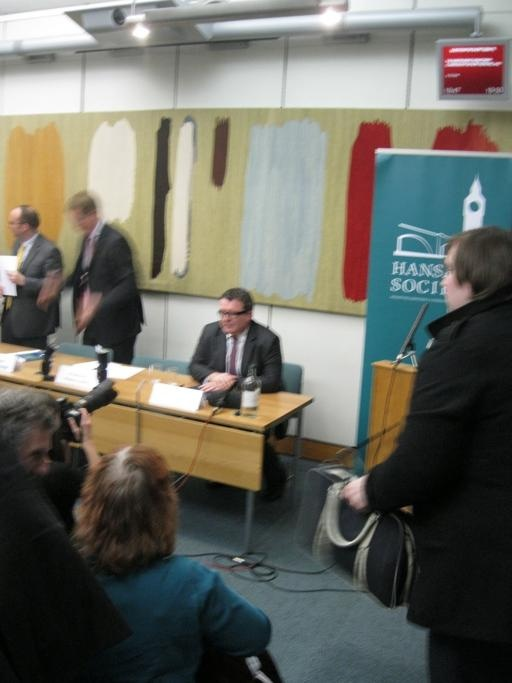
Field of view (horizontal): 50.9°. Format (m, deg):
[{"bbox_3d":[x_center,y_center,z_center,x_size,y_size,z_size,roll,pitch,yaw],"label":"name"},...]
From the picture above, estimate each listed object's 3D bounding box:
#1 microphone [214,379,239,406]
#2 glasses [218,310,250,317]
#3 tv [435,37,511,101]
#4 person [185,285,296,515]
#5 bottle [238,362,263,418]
[{"bbox_3d":[-0.137,0.278,2.887,0.096,0.122,0.040,-3,-5,20],"label":"microphone"},{"bbox_3d":[-0.132,-0.169,3.186,0.180,0.048,0.088,2,7,-5],"label":"glasses"},{"bbox_3d":[1.274,-1.594,3.132,0.384,0.317,0.151,5,19,21],"label":"tv"},{"bbox_3d":[-0.149,0.347,3.407,0.603,1.281,0.730,11,17,35],"label":"person"},{"bbox_3d":[-0.035,0.244,2.770,0.095,0.231,0.285,3,8,-2],"label":"bottle"}]
